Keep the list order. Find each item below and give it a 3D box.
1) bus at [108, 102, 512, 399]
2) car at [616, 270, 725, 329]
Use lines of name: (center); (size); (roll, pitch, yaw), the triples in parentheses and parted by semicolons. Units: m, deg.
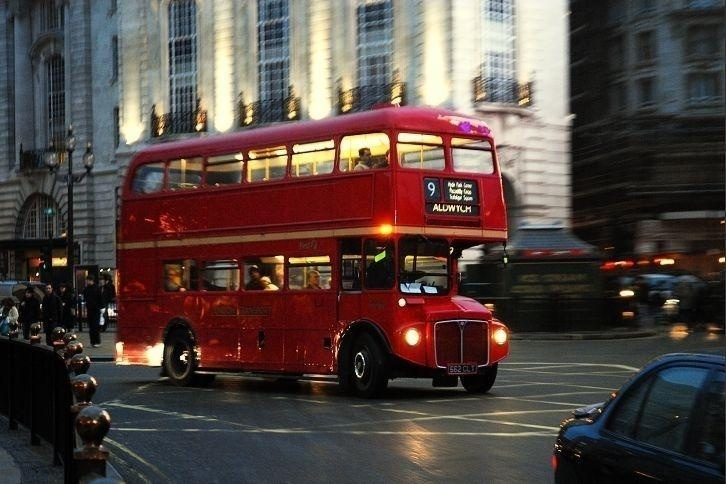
bus: (-1.096, 0.441, 19.444); (3.692, 5.300, 10.940); (7, -7, -39)
car: (11.830, 2.170, 33.555); (3.802, 1.964, 5.349); (1, -2, -3)
